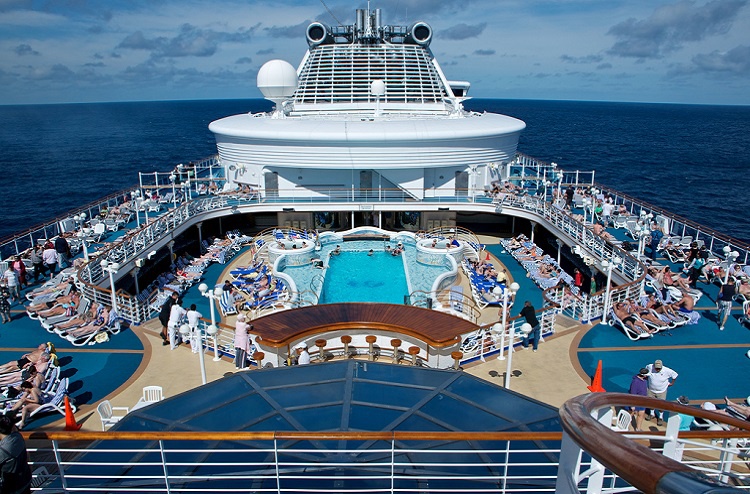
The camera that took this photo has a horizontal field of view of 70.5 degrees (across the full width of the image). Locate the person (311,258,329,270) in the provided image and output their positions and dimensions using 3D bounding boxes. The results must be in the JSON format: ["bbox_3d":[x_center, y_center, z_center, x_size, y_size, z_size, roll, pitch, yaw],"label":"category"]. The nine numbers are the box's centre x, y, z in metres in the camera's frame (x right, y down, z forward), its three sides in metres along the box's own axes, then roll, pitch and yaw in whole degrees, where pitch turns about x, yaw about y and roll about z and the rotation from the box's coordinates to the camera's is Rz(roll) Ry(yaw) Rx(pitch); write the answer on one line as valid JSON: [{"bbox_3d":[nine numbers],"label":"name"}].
[{"bbox_3d":[-2.724,0.873,25.909,0.343,0.284,0.980,-18,-17,28],"label":"person"}]

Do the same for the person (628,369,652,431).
[{"bbox_3d":[6.946,4.165,13.987,0.429,1.722,1.434,6,11,27],"label":"person"}]

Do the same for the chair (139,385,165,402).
[{"bbox_3d":[-6.252,4.034,14.771,0.515,0.461,0.922,-4,10,-25],"label":"chair"}]

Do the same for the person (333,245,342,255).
[{"bbox_3d":[-1.990,0.160,27.732,0.421,0.453,0.726,1,9,3],"label":"person"}]
